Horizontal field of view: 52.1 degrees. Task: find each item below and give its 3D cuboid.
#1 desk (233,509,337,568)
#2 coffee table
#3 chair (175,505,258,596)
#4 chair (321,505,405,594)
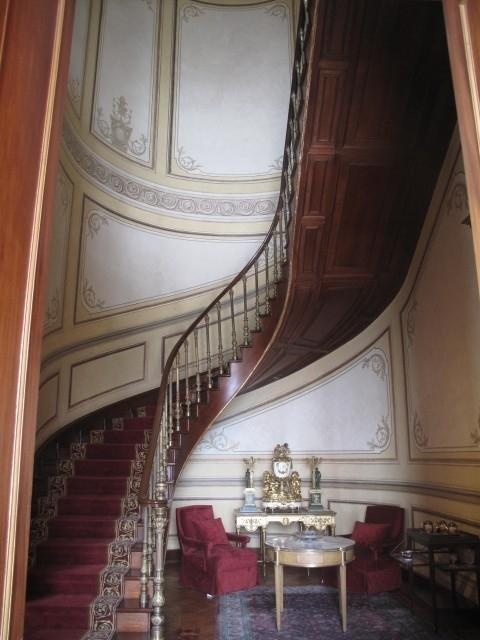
[{"bbox_3d":[0.521,2.506,5.689,1.143,0.666,0.454,-1,-6,0],"label":"desk"},{"bbox_3d":[0.578,2.083,4.035,0.648,0.659,0.692,0,-25,1],"label":"coffee table"},{"bbox_3d":[-0.263,2.300,4.979,0.572,0.787,0.807,13,-21,-38],"label":"chair"},{"bbox_3d":[1.251,2.235,4.911,0.734,0.981,0.689,15,-24,-30],"label":"chair"}]
